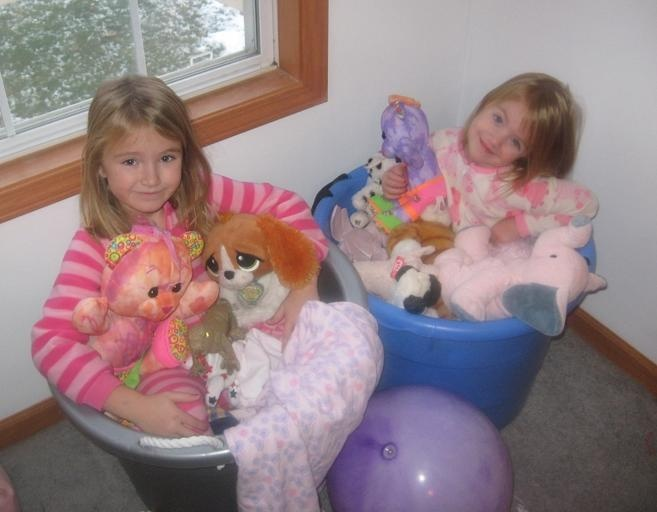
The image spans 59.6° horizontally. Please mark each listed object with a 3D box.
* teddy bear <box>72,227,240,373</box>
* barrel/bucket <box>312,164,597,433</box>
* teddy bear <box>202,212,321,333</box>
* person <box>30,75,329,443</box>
[{"bbox_3d":[-0.444,0.110,1.449,0.151,0.326,0.301,20,19,35],"label":"teddy bear"},{"bbox_3d":[0.335,0.238,1.950,0.720,0.578,0.744,-1,40,1],"label":"barrel/bucket"},{"bbox_3d":[-0.194,0.047,1.590,0.228,0.289,0.152,-11,21,19],"label":"teddy bear"},{"bbox_3d":[-0.412,0.065,1.550,0.784,0.914,0.651,-17,47,-19],"label":"person"}]
